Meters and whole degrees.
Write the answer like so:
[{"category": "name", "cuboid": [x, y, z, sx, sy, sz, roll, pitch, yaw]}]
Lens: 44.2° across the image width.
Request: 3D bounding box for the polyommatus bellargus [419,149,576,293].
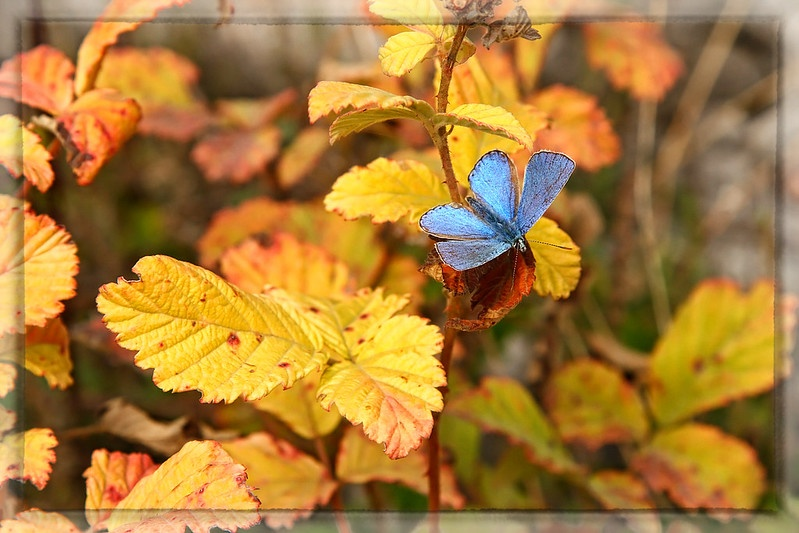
[{"category": "polyommatus bellargus", "cuboid": [0.167, -0.092, 1.762, 0.271, 0.220, 0.109, -16, 35, -30]}]
